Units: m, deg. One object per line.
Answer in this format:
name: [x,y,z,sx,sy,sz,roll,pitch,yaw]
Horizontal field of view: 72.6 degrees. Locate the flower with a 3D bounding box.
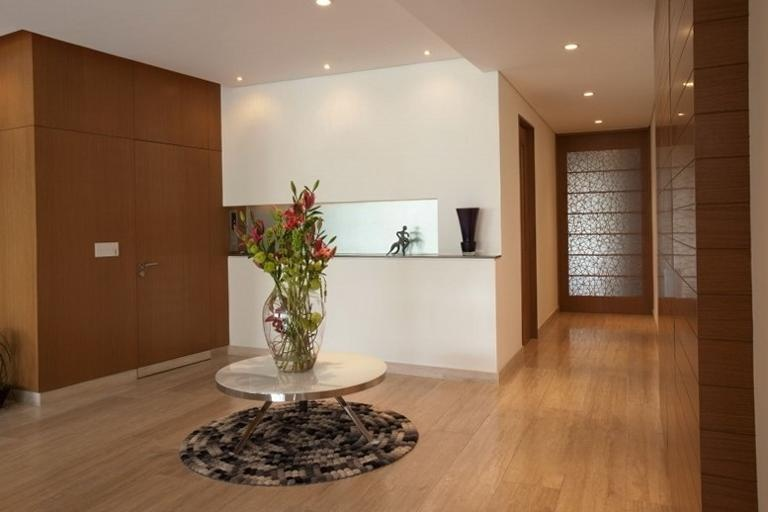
flower: [-0.701,0.162,3.947,0.660,1.433,0.419,-2,7,-6]

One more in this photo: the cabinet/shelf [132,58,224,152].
cabinet/shelf: [-2.668,-1.616,6.117,0.709,1.019,1.440,9,13,27]

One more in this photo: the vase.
vase: [-0.713,0.495,4.130,0.479,0.770,0.452,1,4,29]

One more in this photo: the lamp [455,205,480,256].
lamp: [0.848,-0.265,5.424,0.187,0.477,0.120,3,8,30]
